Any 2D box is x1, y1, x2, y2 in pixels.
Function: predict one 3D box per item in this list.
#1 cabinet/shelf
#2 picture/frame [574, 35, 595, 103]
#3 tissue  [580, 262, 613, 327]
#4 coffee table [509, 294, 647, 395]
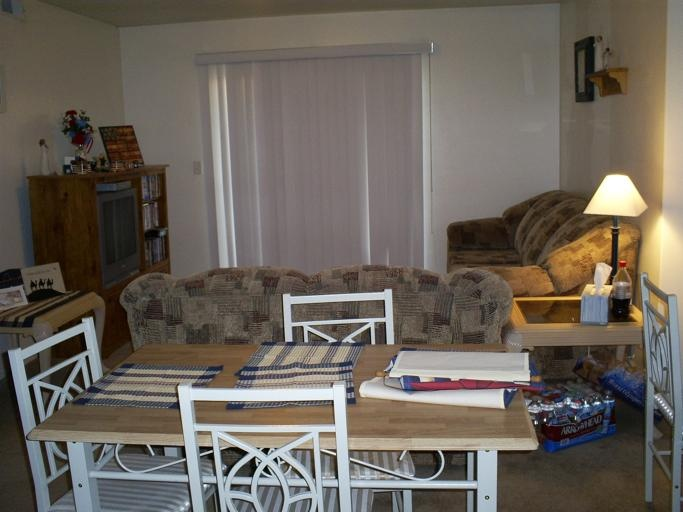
[{"bbox_3d":[-2.004,-0.049,5.091,0.470,1.377,1.376,1,10,4],"label":"cabinet/shelf"},{"bbox_3d":[2.129,-1.674,5.005,0.042,0.459,0.440,17,45,41],"label":"picture/frame"},{"bbox_3d":[1.432,0.206,3.239,0.157,0.309,0.313,1,9,26],"label":"tissue "},{"bbox_3d":[1.275,0.412,3.310,0.798,0.466,0.545,-1,10,6],"label":"coffee table"}]
